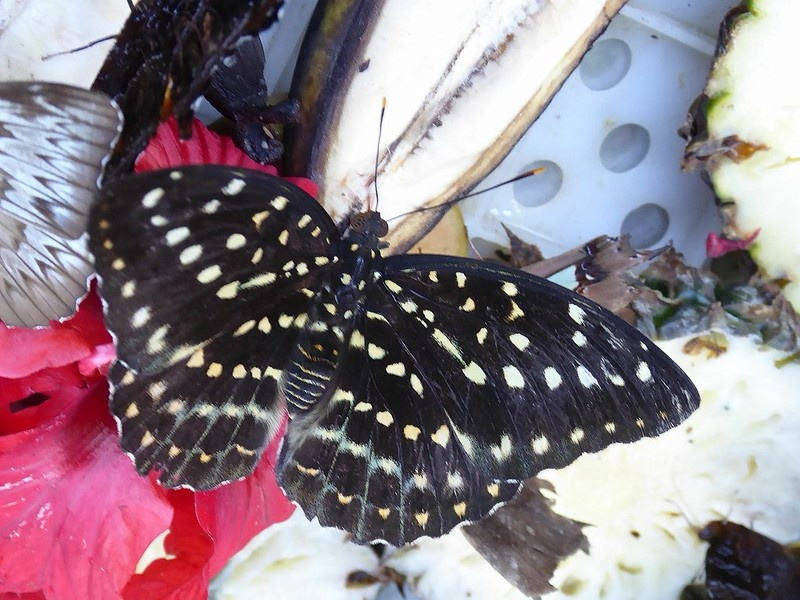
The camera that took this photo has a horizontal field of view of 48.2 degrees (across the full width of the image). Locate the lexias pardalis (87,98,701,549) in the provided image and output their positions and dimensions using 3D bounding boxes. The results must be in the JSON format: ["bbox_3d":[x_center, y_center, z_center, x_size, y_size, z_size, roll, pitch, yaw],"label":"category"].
[{"bbox_3d":[-0.028,0.079,0.835,0.539,0.327,0.141,21,16,-12],"label":"lexias pardalis"}]
